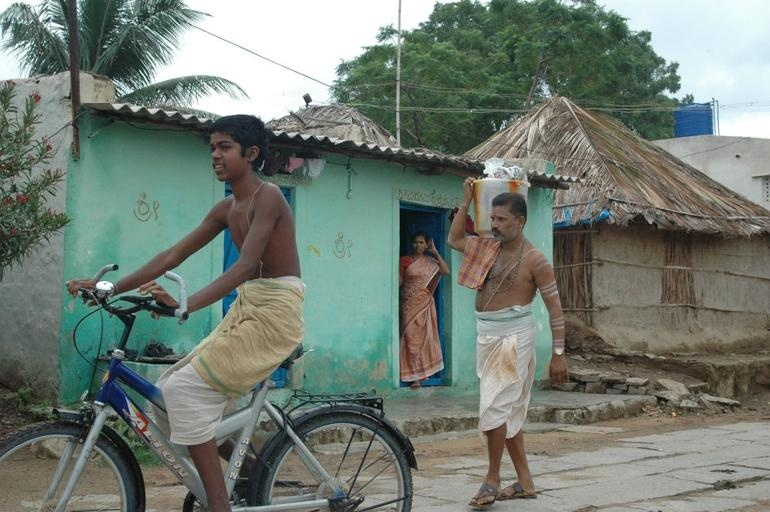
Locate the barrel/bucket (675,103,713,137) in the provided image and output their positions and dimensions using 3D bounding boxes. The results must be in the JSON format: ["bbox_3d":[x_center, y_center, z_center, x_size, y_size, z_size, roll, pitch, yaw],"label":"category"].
[{"bbox_3d":[9.497,-4.271,37.203,1.168,1.209,1.305,-2,-4,14],"label":"barrel/bucket"}]

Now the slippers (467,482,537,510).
[{"bbox_3d":[1.493,3.082,15.464,0.953,0.263,0.337,5,-11,-32],"label":"slippers"}]

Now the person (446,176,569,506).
[{"bbox_3d":[1.607,1.069,15.738,1.416,4.354,0.664,-1,-3,2],"label":"person"}]

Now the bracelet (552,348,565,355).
[{"bbox_3d":[2.251,1.242,15.737,0.107,0.105,0.026,-2,-18,3],"label":"bracelet"}]

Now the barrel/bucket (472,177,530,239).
[{"bbox_3d":[1.592,-0.597,16.938,0.903,0.829,0.820,5,-13,10],"label":"barrel/bucket"}]
